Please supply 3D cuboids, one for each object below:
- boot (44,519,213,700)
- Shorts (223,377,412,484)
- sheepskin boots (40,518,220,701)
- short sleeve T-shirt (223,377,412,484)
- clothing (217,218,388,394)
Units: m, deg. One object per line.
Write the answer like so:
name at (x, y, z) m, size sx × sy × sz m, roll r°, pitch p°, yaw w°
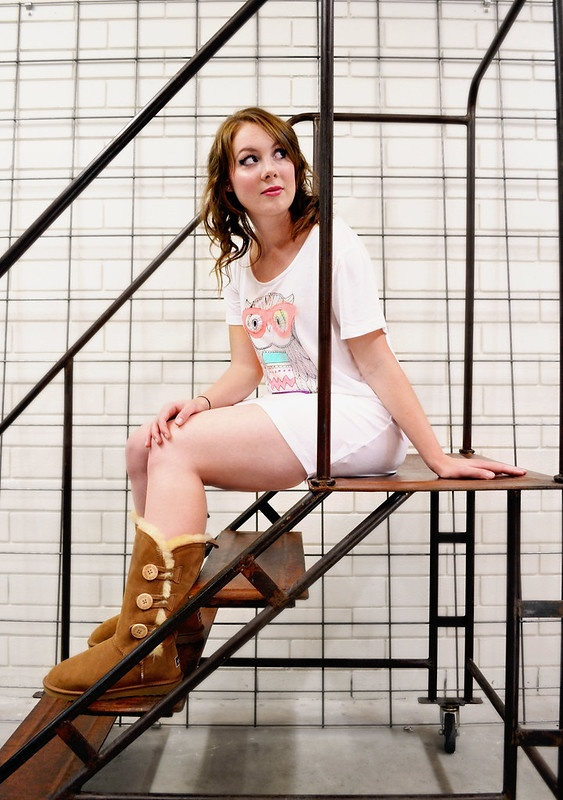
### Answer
boot at (-0.311, 0.475, 2.455) m, size 0.489 × 0.473 × 0.224 m, roll 3°, pitch 0°, yaw -3°
Shorts at (0.115, 0.082, 2.529) m, size 0.274 × 0.101 × 0.202 m, roll 12°, pitch 12°, yaw -19°
sheepskin boots at (-0.301, 0.467, 2.412) m, size 0.489 × 0.471 × 0.225 m, roll 3°, pitch 0°, yaw -2°
short sleeve T-shirt at (0.110, 0.075, 2.531) m, size 0.274 × 0.101 × 0.202 m, roll 12°, pitch 12°, yaw -19°
clothing at (0.039, -0.202, 2.678) m, size 0.244 × 0.405 × 0.431 m, roll -15°, pitch 14°, yaw -41°
